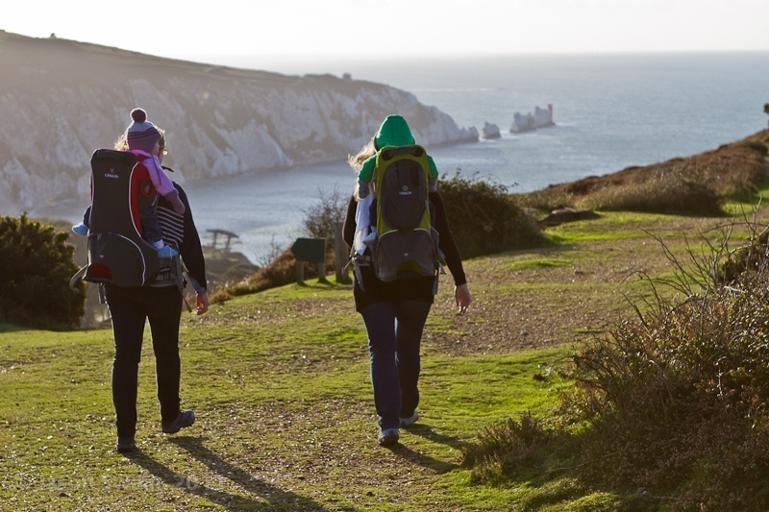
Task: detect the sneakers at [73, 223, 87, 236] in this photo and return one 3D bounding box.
[{"bbox_3d":[-6.407,-0.521,22.401,0.211,0.244,0.587,-1,5,-21],"label":"sneakers"}]

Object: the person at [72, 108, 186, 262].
[{"bbox_3d":[-4.814,-1.503,22.167,0.871,3.043,1.141,-8,10,-38],"label":"person"}]

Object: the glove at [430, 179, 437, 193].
[{"bbox_3d":[1.008,-1.433,22.244,0.197,0.229,0.205,-1,7,-6],"label":"glove"}]
